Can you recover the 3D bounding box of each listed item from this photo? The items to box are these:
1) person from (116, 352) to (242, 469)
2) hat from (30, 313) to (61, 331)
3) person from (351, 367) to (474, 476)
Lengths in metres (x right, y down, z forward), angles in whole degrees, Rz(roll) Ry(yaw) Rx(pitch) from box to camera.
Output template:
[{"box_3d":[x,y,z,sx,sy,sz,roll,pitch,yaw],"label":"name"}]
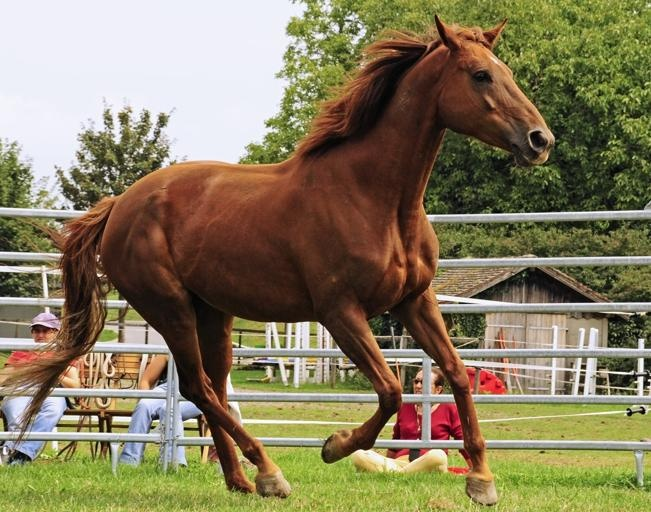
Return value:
[{"box_3d":[-1.845,1.931,14.019,1.885,0.996,0.387,-7,11,-24],"label":"person"},{"box_3d":[-3.297,0.761,13.773,0.285,0.187,0.369,-1,-21,7],"label":"hat"},{"box_3d":[1.065,1.911,13.583,1.370,1.231,0.943,0,-11,1],"label":"person"}]
